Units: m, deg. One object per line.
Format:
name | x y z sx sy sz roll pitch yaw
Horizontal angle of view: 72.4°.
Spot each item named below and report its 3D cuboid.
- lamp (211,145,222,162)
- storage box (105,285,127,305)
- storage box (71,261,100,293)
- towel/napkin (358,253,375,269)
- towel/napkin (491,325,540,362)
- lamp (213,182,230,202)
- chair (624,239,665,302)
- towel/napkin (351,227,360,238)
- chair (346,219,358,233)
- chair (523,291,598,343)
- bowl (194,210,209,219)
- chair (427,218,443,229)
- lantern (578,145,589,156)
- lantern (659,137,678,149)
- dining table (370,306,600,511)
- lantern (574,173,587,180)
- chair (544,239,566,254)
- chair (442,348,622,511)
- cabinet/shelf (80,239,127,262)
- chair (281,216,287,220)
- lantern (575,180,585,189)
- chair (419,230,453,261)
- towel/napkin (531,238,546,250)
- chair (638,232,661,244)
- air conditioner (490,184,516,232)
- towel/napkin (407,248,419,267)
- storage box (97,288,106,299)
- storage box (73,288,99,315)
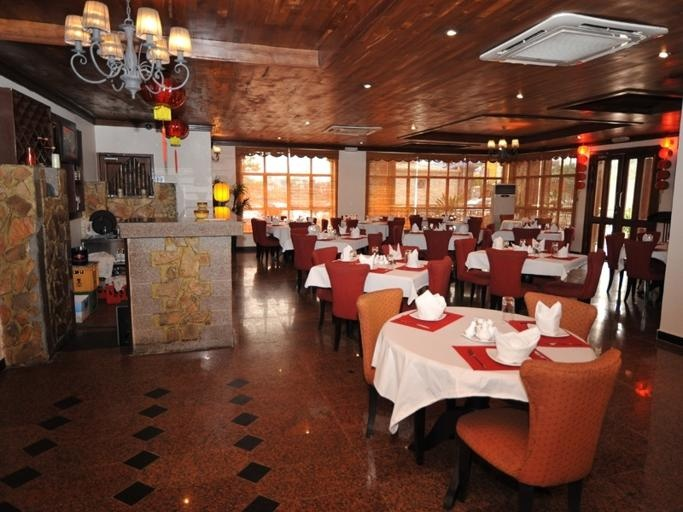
lamp | -3.464 -2.868 12.896 0.245 0.447 0.520 -3 8 -14
storage box | -3.617 0.605 7.483 0.339 0.303 0.250 0 14 -10
storage box | -3.742 0.309 6.968 0.376 0.429 0.632 -2 5 -14
towel/napkin | 0.309 0.052 6.113 0.210 0.194 0.149 -3 5 12
towel/napkin | 1.197 0.599 3.246 0.236 0.192 0.272 -5 4 -11
lamp | -2.624 -1.401 10.108 0.306 0.381 0.492 -4 8 -20
chair | 5.102 0.228 7.910 0.562 1.065 1.034 5 10 33
towel/napkin | 0.287 -0.496 9.670 0.208 0.198 0.236 0 3 -33
chair | 0.224 -0.777 11.931 0.334 0.372 0.352 5 12 12
chair | 1.926 0.497 4.171 0.510 0.539 0.491 8 -10 29
bowl | -1.764 -0.530 5.882 0.153 0.117 0.280 -2 8 -12
chair | 2.474 -0.895 12.414 0.462 0.356 0.383 0 9 8
lantern | 6.481 -2.864 12.601 0.266 0.283 0.409 5 9 33
lantern | 7.315 -2.505 10.478 0.269 0.366 0.588 3 9 27
dining table | 0.753 0.897 3.567 1.445 0.767 1.336 0 10 -2
lantern | 6.489 -2.184 12.692 0.229 0.115 0.217 -5 6 -15
chair | 3.327 -0.162 7.338 0.273 0.181 0.221 0 5 39
chair | 1.229 1.205 3.079 0.936 1.242 0.444 4 10 30
cabinet/shelf | -4.152 -0.110 8.103 0.483 0.411 0.250 -1 11 -15
chair | -1.618 -1.079 12.950 0.209 0.118 0.199 3 12 9
lantern | 6.430 -1.931 12.651 0.245 0.087 0.237 11 48 33
chair | 1.752 -0.283 9.082 0.617 0.837 0.605 3 16 12
towel/napkin | 3.141 -0.197 7.499 0.210 0.203 0.176 -8 5 -7
chair | 5.554 -0.346 8.470 0.310 0.343 0.307 2 13 22
air conditioner | 5.069 -1.564 14.775 0.701 1.444 0.178 -1 12 -9
towel/napkin | 0.935 0.021 6.212 0.147 0.230 0.202 11 -21 -1
storage box | -3.944 0.616 7.722 0.172 0.099 0.163 -2 16 -5
storage box | -3.744 0.702 6.811 0.303 0.243 0.565 0 7 -18
